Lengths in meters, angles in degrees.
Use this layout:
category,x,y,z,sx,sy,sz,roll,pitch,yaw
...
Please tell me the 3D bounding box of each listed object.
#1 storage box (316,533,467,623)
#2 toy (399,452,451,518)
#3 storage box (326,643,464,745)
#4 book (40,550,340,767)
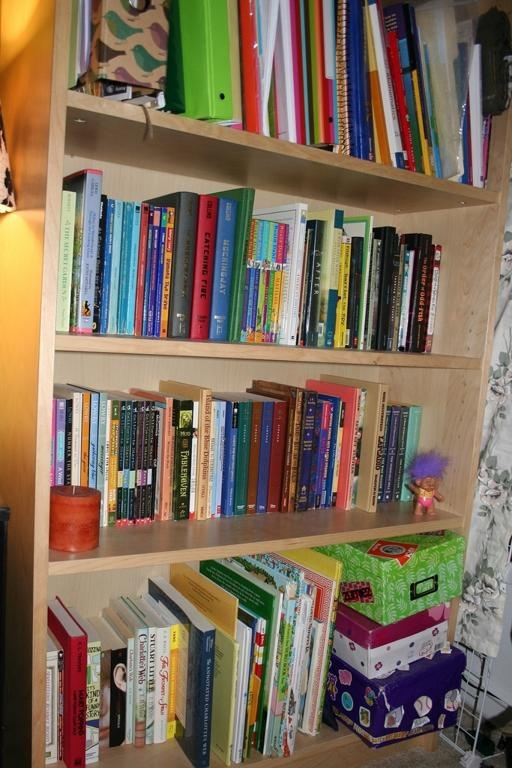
category,x,y,z,sx,sy,sz,roll,pitch,yaw
storage box,0.307,0.410,1.263,0.239,0.122,0.175,-1,1,-34
toy,0.395,0.237,1.385,0.125,0.201,0.070,2,-17,-6
storage box,0.311,0.674,1.310,0.229,0.149,0.231,-2,4,-27
book,-0.126,0.544,1.170,0.559,0.389,0.300,0,5,-21
